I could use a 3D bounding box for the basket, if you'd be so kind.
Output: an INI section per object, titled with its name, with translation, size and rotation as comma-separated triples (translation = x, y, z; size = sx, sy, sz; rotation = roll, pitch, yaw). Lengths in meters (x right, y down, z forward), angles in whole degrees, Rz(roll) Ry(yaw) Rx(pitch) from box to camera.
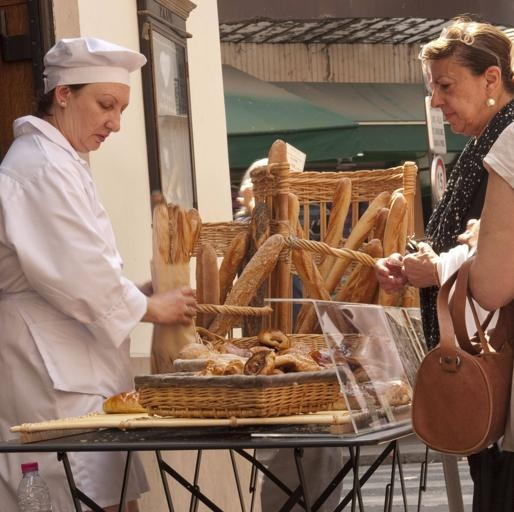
[basket]
translation = -0.054, 0.380, 2.653
size = 0.567, 0.162, 0.173
rotation = -2, 12, -1

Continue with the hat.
[hat]
translation = -0.578, -0.661, 3.418
size = 0.225, 0.119, 0.217
rotation = -6, -13, 7
